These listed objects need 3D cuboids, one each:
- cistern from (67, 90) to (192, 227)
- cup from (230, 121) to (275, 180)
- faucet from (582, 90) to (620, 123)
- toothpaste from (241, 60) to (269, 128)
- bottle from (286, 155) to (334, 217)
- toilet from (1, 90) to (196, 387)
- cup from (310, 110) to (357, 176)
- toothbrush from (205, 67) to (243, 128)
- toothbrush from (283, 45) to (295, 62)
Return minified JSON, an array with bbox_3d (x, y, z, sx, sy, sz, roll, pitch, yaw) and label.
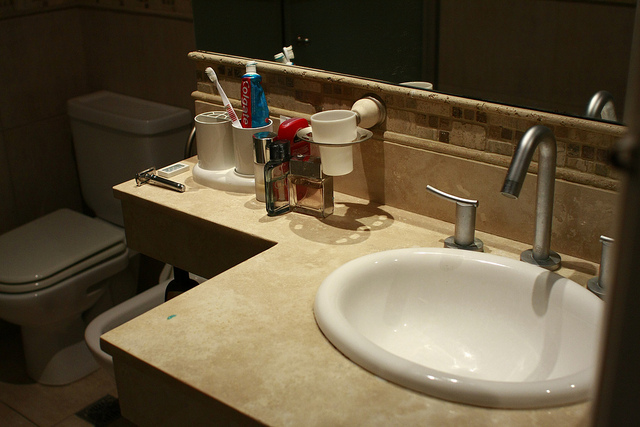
[{"bbox_3d":[-0.847,-0.154,2.346,0.427,0.637,0.506,-22,34,-37],"label":"cistern"},{"bbox_3d":[-0.207,-0.190,1.533,0.137,0.160,0.141,0,24,0],"label":"cup"},{"bbox_3d":[0.572,-0.197,1.054,0.077,0.094,0.032,-15,21,-29],"label":"faucet"},{"bbox_3d":[-0.192,-0.331,1.480,0.068,0.189,0.072,-5,-4,25],"label":"toothpaste"},{"bbox_3d":[-0.024,-0.071,1.348,0.111,0.154,0.058,14,36,28],"label":"bottle"},{"bbox_3d":[-1.022,0.075,2.316,0.545,1.025,0.876,23,35,38],"label":"toilet"},{"bbox_3d":[0.036,-0.173,1.333,0.109,0.156,0.117,0,24,0],"label":"cup"},{"bbox_3d":[-0.286,-0.349,1.569,0.024,0.236,0.032,-20,16,24],"label":"toothbrush"},{"bbox_3d":[-0.088,-0.445,1.454,0.035,0.039,0.025,3,36,5],"label":"toothbrush"}]
